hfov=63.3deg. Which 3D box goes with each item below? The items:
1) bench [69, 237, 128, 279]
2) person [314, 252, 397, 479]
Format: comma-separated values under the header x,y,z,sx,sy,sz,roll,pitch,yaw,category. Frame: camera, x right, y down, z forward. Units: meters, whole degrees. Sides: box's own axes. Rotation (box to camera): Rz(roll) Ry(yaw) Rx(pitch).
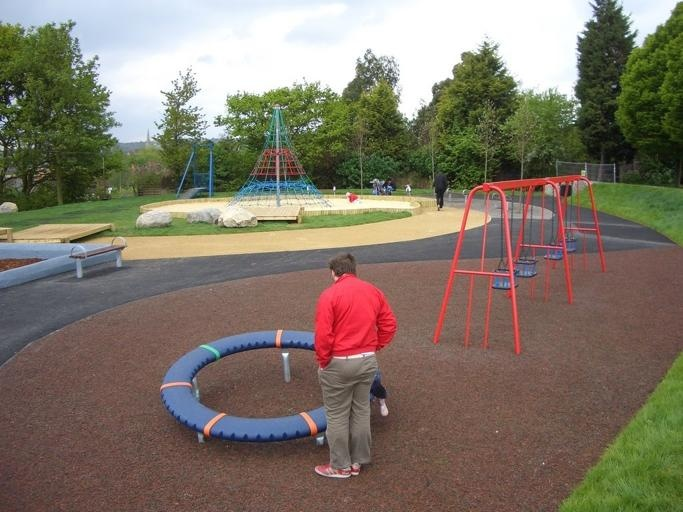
x,y,z,sx,sy,sz,roll,pitch,yaw,category
-5.890,0.024,13.524,0.531,0.831,1.625,7,12,14,bench
0.099,1.125,5.874,0.806,2.389,0.612,-3,6,-21,person
